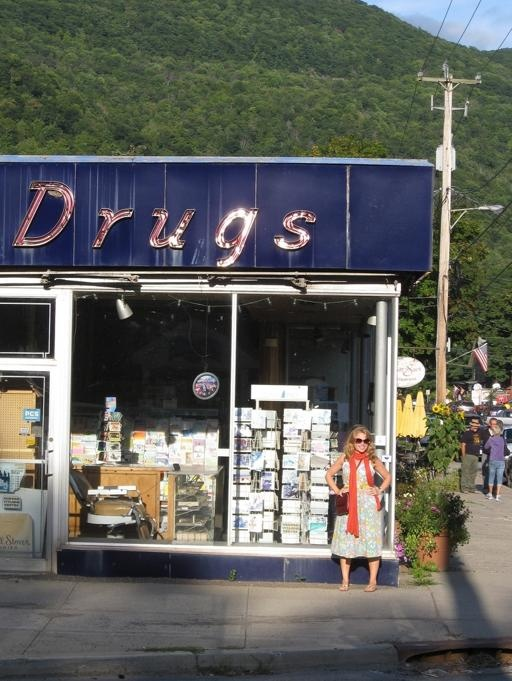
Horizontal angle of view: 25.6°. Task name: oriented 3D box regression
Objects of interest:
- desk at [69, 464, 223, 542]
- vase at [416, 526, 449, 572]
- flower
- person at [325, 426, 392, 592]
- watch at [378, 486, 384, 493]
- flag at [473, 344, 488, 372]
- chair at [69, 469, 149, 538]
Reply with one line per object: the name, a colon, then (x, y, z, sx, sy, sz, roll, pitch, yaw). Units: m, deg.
desk: (-1.137, 1.732, 11.865, 0.935, 0.514, 0.995, 1, -1, 1)
vase: (1.896, 2.226, 11.986, 0.375, 0.443, 0.394, 0, -6, 12)
flower: (1.829, 2.033, 12.225, 0.708, 0.780, 0.639, -12, -14, 12)
person: (0.990, 1.648, 11.047, 0.636, 1.588, 0.612, 1, 6, -5)
watch: (1.206, 1.454, 10.951, 0.041, 0.058, 0.057, -3, -31, 5)
flag: (8.388, 0.617, 42.369, 0.259, 1.748, 1.584, -2, 4, 19)
chair: (-1.502, 1.709, 11.803, 0.767, 0.706, 0.624, 2, -3, 0)
